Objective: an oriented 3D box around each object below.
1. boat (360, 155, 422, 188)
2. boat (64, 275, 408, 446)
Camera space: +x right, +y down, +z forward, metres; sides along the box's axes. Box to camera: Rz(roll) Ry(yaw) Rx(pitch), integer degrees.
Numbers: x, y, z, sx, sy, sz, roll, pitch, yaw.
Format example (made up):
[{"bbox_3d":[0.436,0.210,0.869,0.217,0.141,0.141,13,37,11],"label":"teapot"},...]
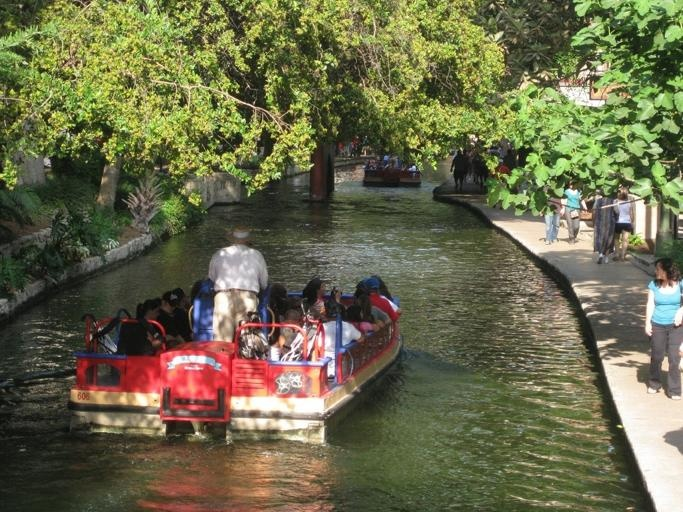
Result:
[{"bbox_3d":[3.980,-6.602,56.883,3.059,1.650,4.952,0,3,0],"label":"boat"},{"bbox_3d":[-1.438,1.278,10.360,3.441,1.605,2.998,3,10,14],"label":"boat"}]
